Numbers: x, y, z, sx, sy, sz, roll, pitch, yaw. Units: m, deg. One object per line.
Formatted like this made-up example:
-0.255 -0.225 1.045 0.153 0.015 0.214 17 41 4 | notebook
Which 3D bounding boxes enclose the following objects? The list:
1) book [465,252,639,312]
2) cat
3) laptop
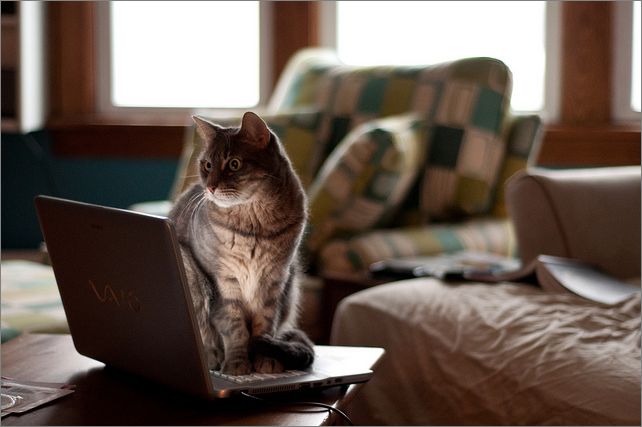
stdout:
0.597 0.160 1.482 0.220 0.064 0.160 26 9 30 | book
-0.191 0.123 1.493 0.285 0.661 0.431 0 55 0 | cat
-0.294 0.178 1.277 0.507 0.351 0.476 -1 3 -38 | laptop
